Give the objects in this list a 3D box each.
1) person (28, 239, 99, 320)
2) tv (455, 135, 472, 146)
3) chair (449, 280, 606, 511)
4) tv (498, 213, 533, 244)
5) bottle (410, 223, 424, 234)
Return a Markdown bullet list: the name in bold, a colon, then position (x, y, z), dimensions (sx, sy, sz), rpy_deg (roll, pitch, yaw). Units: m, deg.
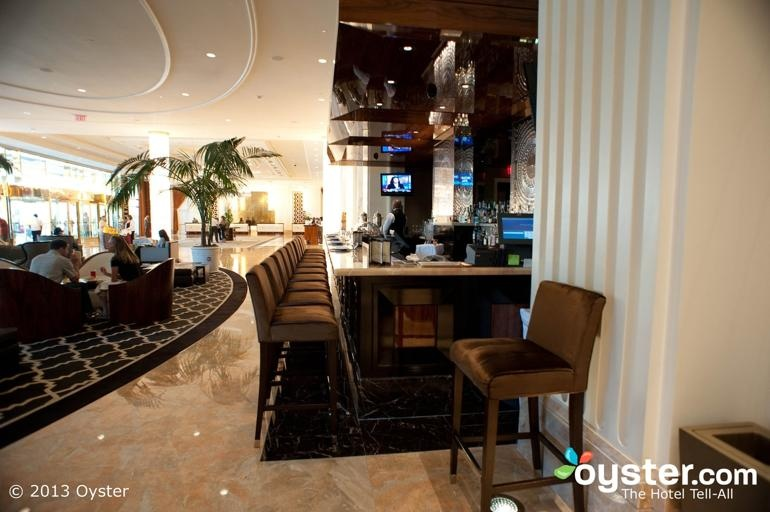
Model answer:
- **person**: position (-4.549, 0.359, 7.054), dimensions (0.585, 1.161, 0.712), rpy_deg (-3, 9, 30)
- **tv**: position (1.422, -2.007, 8.978), dimensions (0.223, 0.148, 0.229), rpy_deg (2, 3, 6)
- **chair**: position (1.053, 1.031, 3.670), dimensions (1.076, 1.592, 0.681), rpy_deg (-4, 11, -10)
- **tv**: position (1.344, -0.279, 5.123), dimensions (0.333, 0.279, 0.319), rpy_deg (0, 11, 11)
- **bottle**: position (0.817, -0.673, 12.801), dimensions (0.388, 0.441, 0.245), rpy_deg (1, -3, -1)
